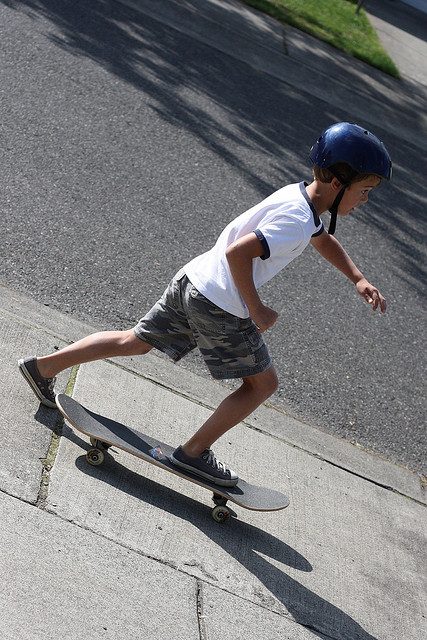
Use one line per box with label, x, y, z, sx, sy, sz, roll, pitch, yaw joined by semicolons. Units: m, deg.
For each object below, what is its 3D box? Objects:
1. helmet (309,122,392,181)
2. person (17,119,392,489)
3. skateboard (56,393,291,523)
helmet;0.591;-0.714;3.190;0.365;0.251;0.249;11;26;2
person;0.093;-0.061;3.254;1.043;1.717;0.659;38;30;7
skateboard;-0.213;0.654;3.412;1.012;0.163;0.221;25;16;-5
